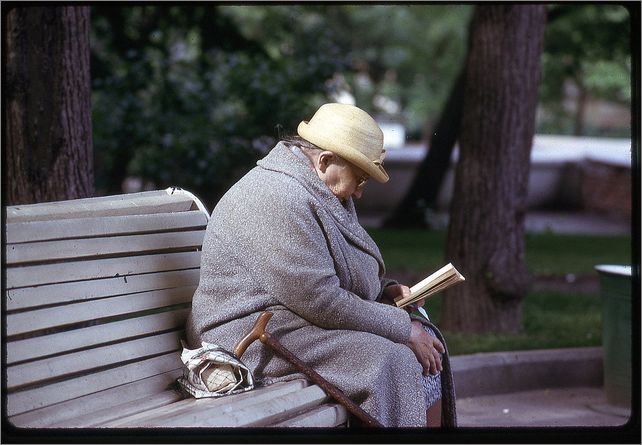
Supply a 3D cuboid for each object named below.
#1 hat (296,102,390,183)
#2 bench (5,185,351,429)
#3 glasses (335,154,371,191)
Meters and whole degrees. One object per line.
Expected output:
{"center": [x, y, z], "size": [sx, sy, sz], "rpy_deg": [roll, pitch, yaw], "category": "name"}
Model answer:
{"center": [0.174, -0.553, 5.561], "size": [0.707, 0.418, 0.559], "rpy_deg": [20, 11, 8], "category": "hat"}
{"center": [-1.076, 0.572, 5.328], "size": [1.750, 1.352, 0.946], "rpy_deg": [8, 10, 2], "category": "bench"}
{"center": [0.229, -0.359, 5.452], "size": [0.064, 0.213, 0.197], "rpy_deg": [-42, 3, -17], "category": "glasses"}
